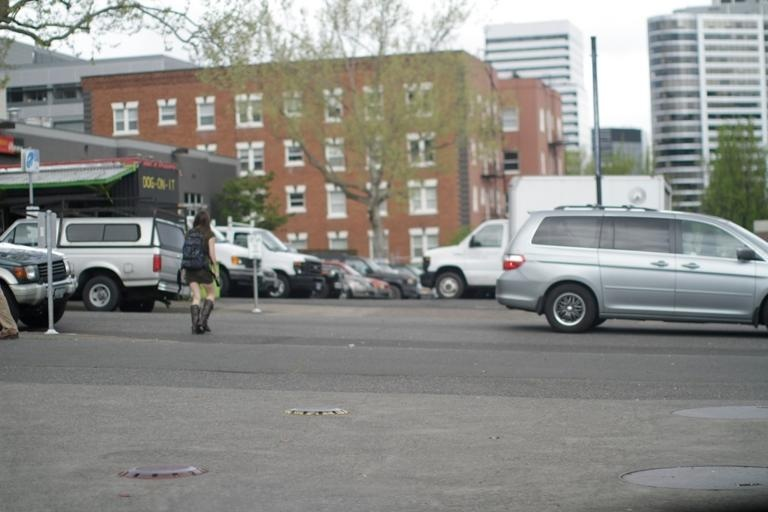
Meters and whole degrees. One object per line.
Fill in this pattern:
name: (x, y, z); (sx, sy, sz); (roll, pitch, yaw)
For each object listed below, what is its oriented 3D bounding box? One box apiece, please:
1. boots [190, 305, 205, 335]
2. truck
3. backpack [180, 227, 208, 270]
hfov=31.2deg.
boots: (-3.939, 1.265, 28.973); (0.255, 0.632, 0.731); (0, 9, -7)
truck: (4.636, -0.660, 40.326); (7.072, 3.469, 3.366); (1, -1, 8)
backpack: (-3.999, -0.123, 28.872); (0.500, 0.846, 0.382); (8, 11, 37)
